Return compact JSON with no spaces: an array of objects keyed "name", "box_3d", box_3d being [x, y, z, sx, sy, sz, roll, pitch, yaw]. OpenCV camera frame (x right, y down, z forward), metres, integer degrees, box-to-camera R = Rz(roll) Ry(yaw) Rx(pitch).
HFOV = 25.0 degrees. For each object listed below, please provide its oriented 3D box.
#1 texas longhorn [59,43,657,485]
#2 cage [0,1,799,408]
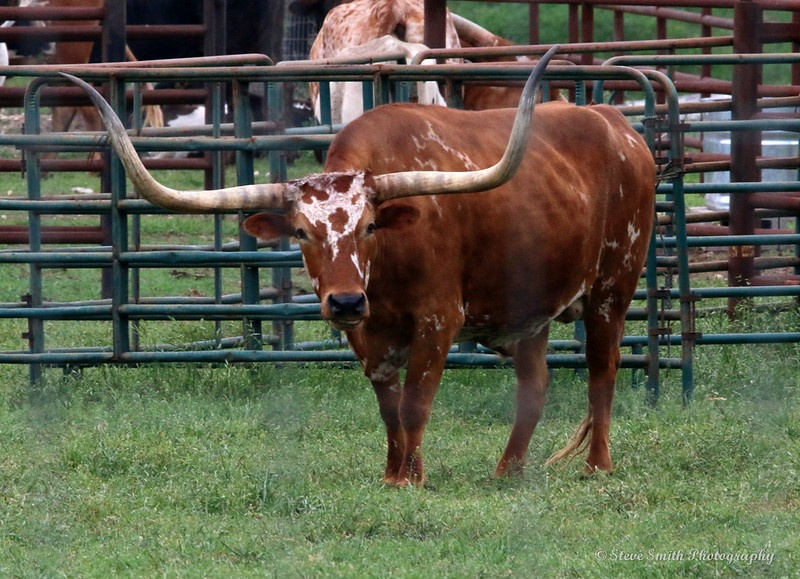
[{"name":"texas longhorn","box_3d":[0.430,-0.023,13.292,4.905,3.092,2.800,2,-1,-38]},{"name":"cage","box_3d":[-0.033,-0.760,15.999,6.310,3.376,3.798,-1,1,-4]}]
